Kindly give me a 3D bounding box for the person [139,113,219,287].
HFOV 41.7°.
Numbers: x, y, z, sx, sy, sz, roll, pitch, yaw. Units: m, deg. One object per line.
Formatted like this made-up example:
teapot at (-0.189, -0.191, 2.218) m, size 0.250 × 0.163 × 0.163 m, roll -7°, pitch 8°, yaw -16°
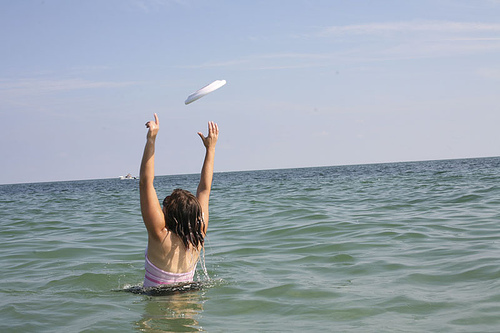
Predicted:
person at (-1.240, 0.604, 11.244) m, size 1.513 × 2.991 × 0.820 m, roll -7°, pitch 5°, yaw -37°
